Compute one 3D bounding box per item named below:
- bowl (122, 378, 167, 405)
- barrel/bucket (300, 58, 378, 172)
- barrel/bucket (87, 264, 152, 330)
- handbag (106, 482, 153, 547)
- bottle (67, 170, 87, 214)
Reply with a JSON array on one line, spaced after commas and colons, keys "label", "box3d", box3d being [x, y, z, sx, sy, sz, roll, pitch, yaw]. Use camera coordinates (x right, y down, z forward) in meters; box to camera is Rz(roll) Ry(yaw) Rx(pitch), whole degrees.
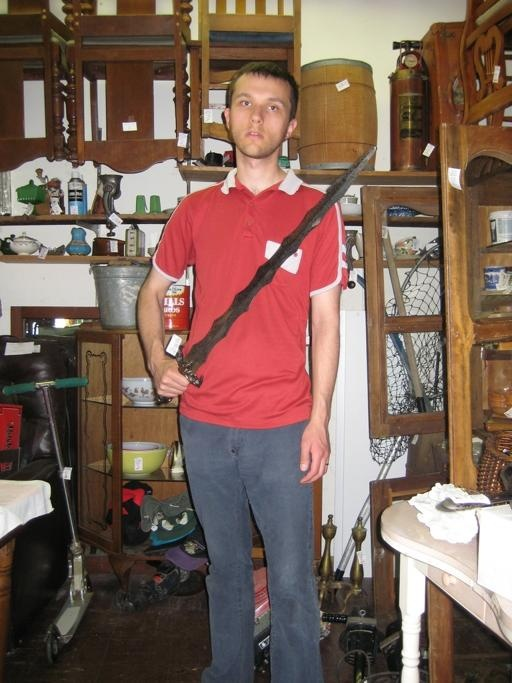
[{"label": "bowl", "box3d": [-0.499, 0.212, 2.732, 0.195, 0.094, 0.189, 1, -4, 0]}, {"label": "barrel/bucket", "box3d": [0.287, -0.931, 2.722, 0.411, 0.432, 0.406, 0, 3, 0]}, {"label": "barrel/bucket", "box3d": [-0.551, -0.186, 2.706, 0.282, 0.285, 0.277, 4, 11, -1]}, {"label": "handbag", "box3d": [-0.513, 0.709, 2.621, 0.183, 0.224, 0.082, 3, 0, -3]}, {"label": "bottle", "box3d": [-0.808, -0.667, 2.877, 0.092, 0.207, 0.240, -2, 7, -15]}]
